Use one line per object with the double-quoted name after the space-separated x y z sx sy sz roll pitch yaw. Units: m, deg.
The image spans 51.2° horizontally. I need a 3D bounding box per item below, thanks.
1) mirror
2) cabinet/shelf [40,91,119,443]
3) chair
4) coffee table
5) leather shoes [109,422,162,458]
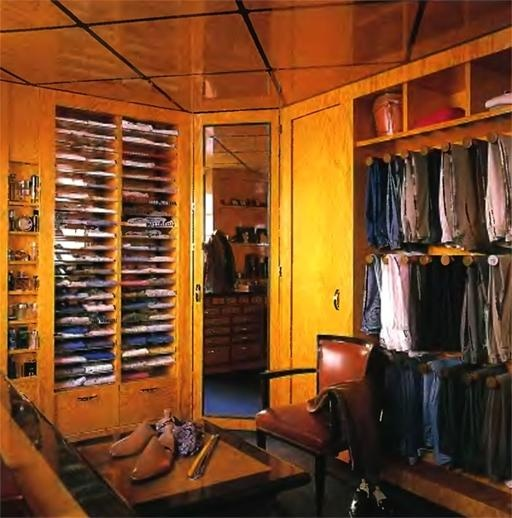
-0.107 0.051 4.902 0.867 2.634 1.128 6 4 19 "mirror"
-1.368 0.087 4.243 0.576 2.513 0.560 3 4 -34 "cabinet/shelf"
0.483 0.868 3.384 0.840 1.205 0.898 2 -2 -40 "chair"
-0.334 1.006 2.593 0.818 0.147 0.888 2 5 -36 "coffee table"
-0.568 0.892 2.710 0.341 0.116 0.119 -14 8 -11 "leather shoes"
